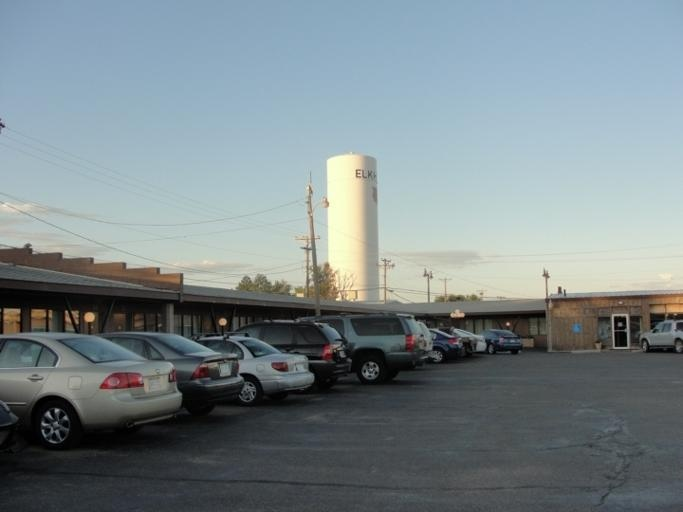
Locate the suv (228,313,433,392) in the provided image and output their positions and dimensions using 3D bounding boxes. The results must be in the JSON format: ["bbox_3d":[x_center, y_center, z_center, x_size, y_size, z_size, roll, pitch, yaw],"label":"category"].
[{"bbox_3d":[-0.202,2.841,23.636,5.726,1.502,2.195,-1,-5,16],"label":"suv"}]
